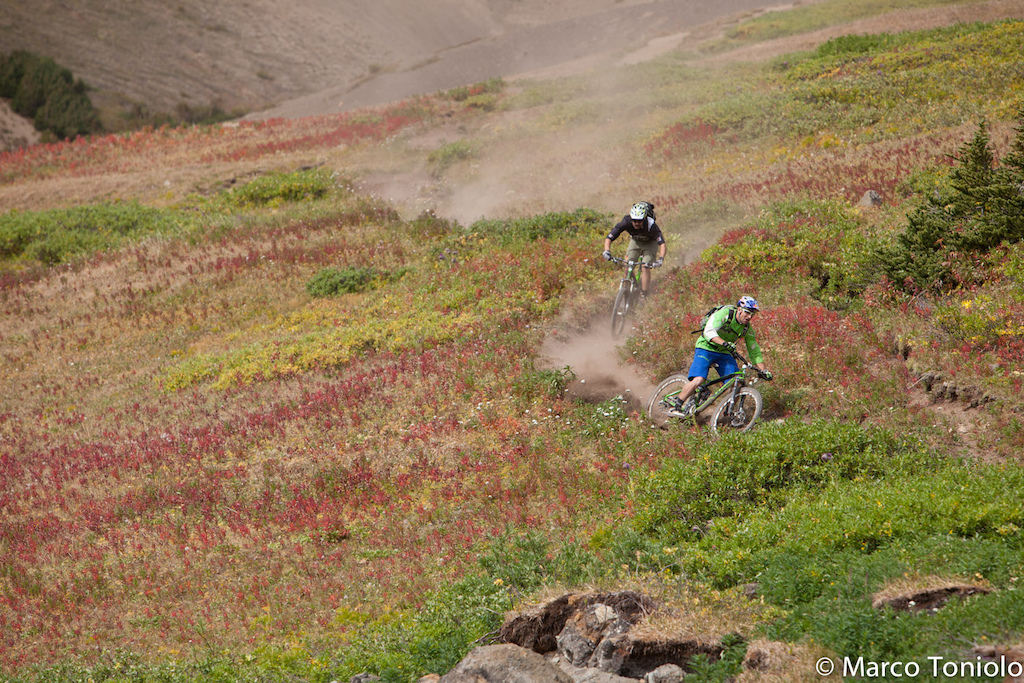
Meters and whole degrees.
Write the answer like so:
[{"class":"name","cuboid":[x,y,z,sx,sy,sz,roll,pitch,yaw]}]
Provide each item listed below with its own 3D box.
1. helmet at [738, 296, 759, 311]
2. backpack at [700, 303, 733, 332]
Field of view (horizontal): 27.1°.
[{"class":"helmet","cuboid":[7.266,-1.193,65.965,0.407,0.302,0.583,-2,7,-27]},{"class":"backpack","cuboid":[6.288,-0.818,66.499,1.043,0.568,0.451,-22,25,6]}]
